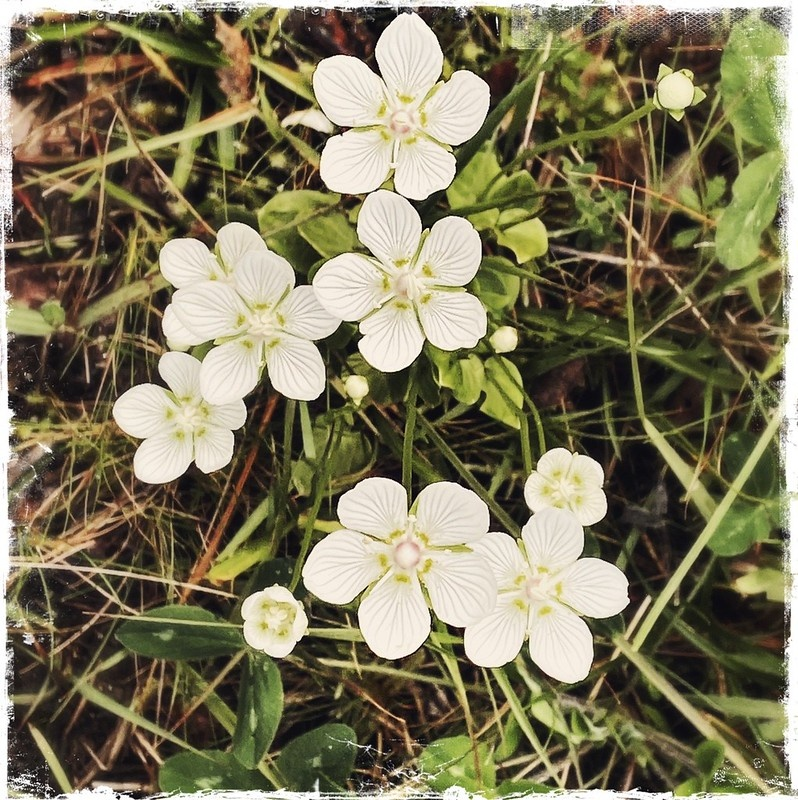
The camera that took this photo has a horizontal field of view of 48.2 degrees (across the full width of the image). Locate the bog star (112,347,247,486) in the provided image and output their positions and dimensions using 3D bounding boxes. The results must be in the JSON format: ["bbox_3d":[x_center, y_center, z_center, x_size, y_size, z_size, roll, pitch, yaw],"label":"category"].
[{"bbox_3d":[-0.656,0.072,2.766,0.369,0.150,0.443,25,44,-10],"label":"bog star"}]

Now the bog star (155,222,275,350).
[{"bbox_3d":[-0.520,-0.366,2.712,0.245,0.310,0.079,-8,65,-2],"label":"bog star"}]

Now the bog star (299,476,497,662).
[{"bbox_3d":[0.025,0.429,2.524,0.541,0.136,0.566,35,42,28],"label":"bog star"}]

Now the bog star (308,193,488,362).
[{"bbox_3d":[0.016,-0.310,2.423,0.463,0.273,0.381,13,70,9],"label":"bog star"}]

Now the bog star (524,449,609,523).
[{"bbox_3d":[0.487,0.255,2.643,0.218,0.104,0.277,-1,64,1],"label":"bog star"}]

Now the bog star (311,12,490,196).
[{"bbox_3d":[0.000,-0.813,2.399,0.458,0.114,0.536,16,103,2],"label":"bog star"}]

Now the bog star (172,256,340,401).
[{"bbox_3d":[-0.402,-0.203,2.513,0.418,0.528,0.115,9,34,-13],"label":"bog star"}]
